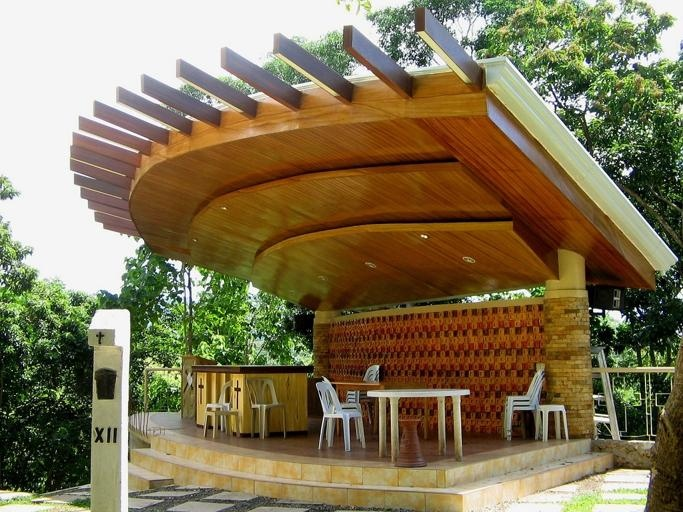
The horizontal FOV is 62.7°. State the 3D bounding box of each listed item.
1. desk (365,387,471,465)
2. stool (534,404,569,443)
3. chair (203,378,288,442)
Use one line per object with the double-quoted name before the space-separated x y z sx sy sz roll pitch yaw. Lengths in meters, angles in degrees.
"desk" 1.063 2.269 7.913 1.217 0.812 1.297 -1 -19 6
"stool" 3.822 3.013 10.172 0.452 0.487 0.507 7 -18 8
"chair" -1.771 2.994 10.771 1.127 0.796 0.541 -9 -17 28
